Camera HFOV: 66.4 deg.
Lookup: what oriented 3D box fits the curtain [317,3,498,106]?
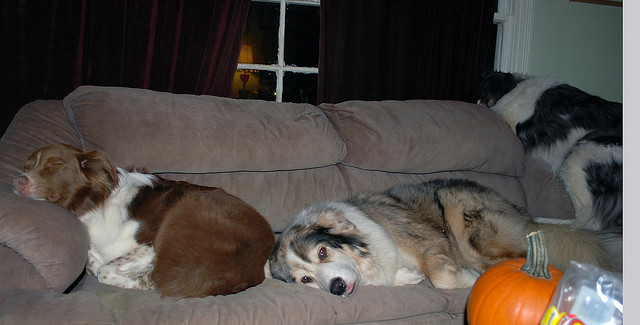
[{"bbox_3d":[0.884,-1.199,5.438,1.457,1.443,0.119,1,7,-14],"label":"curtain"}]

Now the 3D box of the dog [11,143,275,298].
[{"bbox_3d":[-1.411,0.560,4.406,2.162,0.901,1.080,10,-12,-9],"label":"dog"}]

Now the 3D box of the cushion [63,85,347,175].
[{"bbox_3d":[-0.732,-0.250,4.760,2.356,0.856,0.705,-6,42,-17],"label":"cushion"}]

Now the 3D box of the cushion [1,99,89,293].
[{"bbox_3d":[-2.314,0.223,4.091,0.707,1.465,0.993,2,8,-25],"label":"cushion"}]

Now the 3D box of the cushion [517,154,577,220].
[{"bbox_3d":[2.109,0.220,4.501,0.592,0.506,0.170,1,-6,13],"label":"cushion"}]
